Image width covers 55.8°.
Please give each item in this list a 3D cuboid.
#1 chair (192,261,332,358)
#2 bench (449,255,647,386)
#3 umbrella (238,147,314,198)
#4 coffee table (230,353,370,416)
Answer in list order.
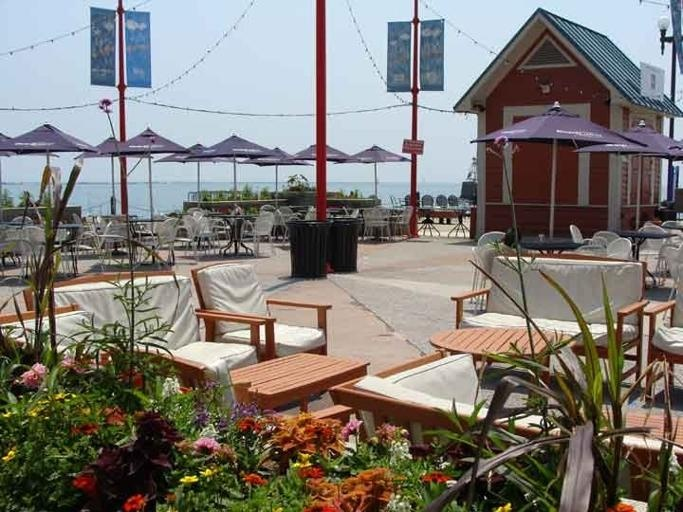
[{"bbox_3d":[-0.689,0.574,5.451,1.060,1.039,0.875,-1,3,27],"label":"chair"},{"bbox_3d":[1.834,0.608,5.683,1.532,1.131,0.906,2,6,39],"label":"bench"},{"bbox_3d":[-1.946,-2.625,19.481,1.188,1.121,1.395,-5,-11,12],"label":"umbrella"},{"bbox_3d":[-0.326,0.898,4.456,0.629,0.260,1.013,4,4,40],"label":"coffee table"}]
